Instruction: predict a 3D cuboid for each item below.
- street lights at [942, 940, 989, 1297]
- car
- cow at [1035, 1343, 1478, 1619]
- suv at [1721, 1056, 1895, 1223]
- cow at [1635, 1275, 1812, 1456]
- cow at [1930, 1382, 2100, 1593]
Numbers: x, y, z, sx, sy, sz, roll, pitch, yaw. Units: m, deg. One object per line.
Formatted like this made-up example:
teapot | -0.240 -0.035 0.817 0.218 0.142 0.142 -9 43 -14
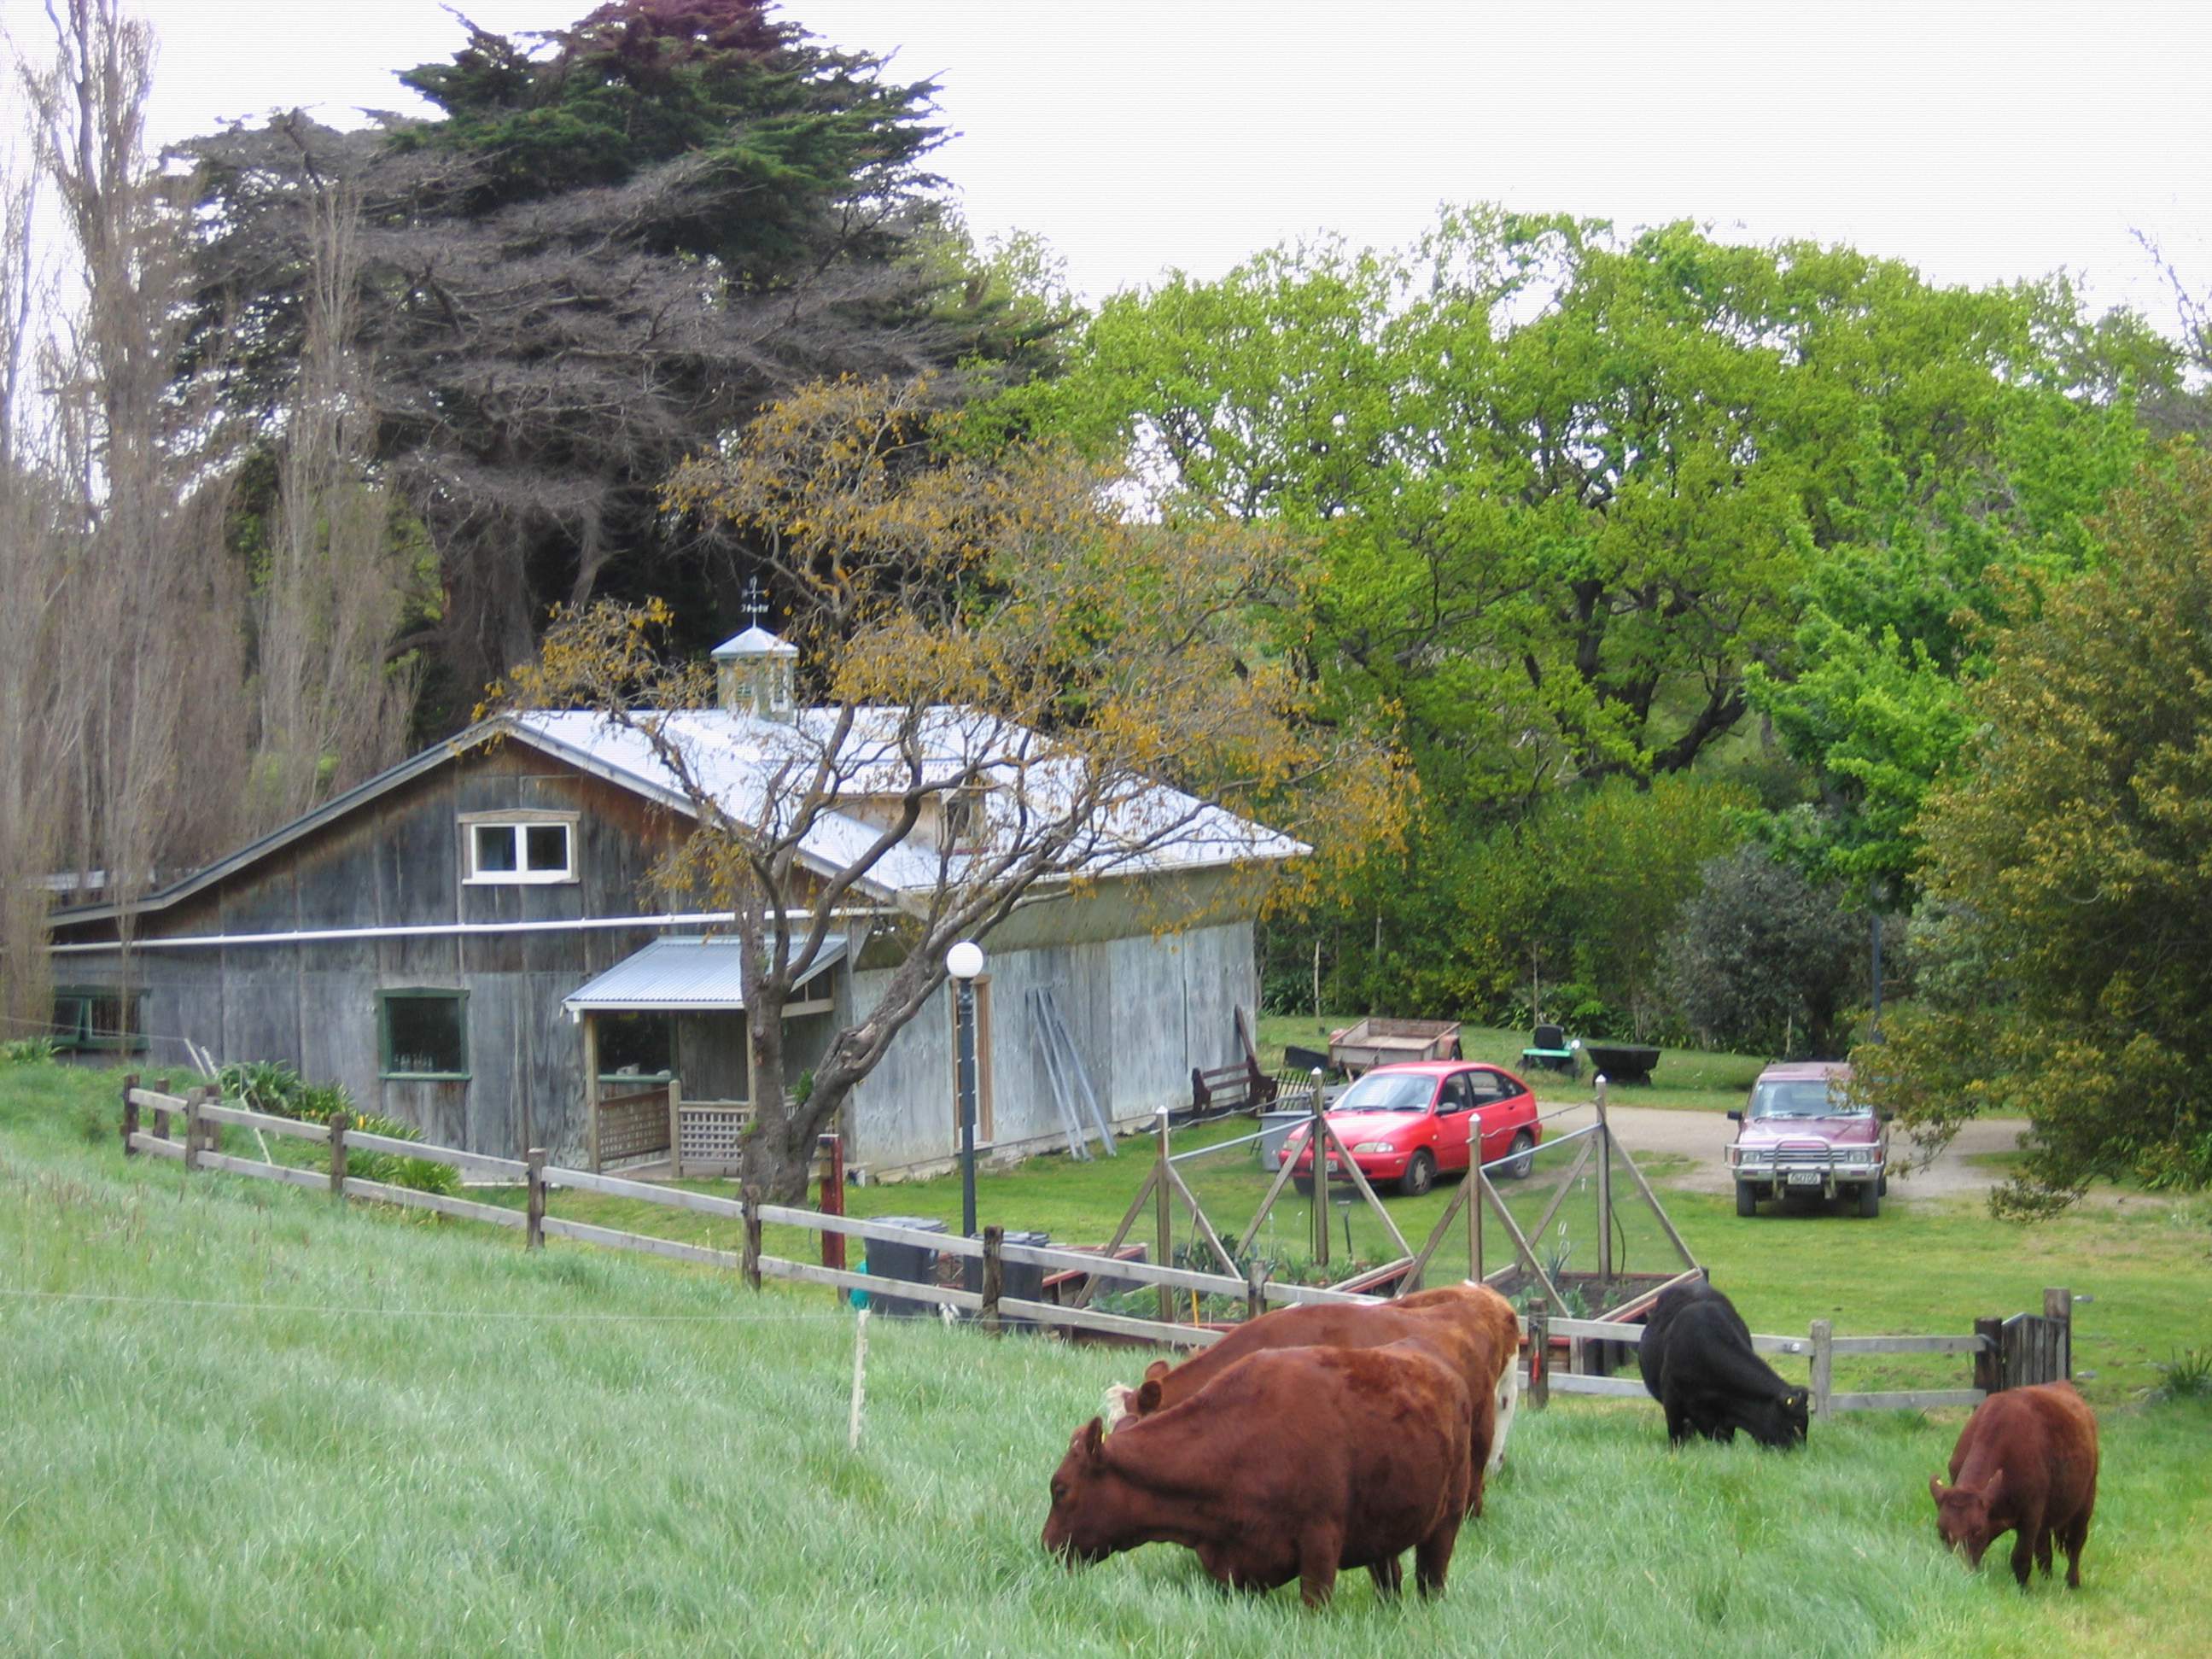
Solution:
street lights | -1.977 3.764 56.451 0.592 4.289 0.625 -1 -4 -5
car | 5.354 4.853 66.275 2.013 1.878 4.169 -2 -3 33
cow | 2.256 7.400 45.464 5.605 3.773 2.195 -3 11 -15
suv | 11.892 5.296 66.875 2.323 2.834 5.296 -1 -4 15
cow | 8.010 6.780 51.167 1.583 2.219 1.668 0 -1 17
cow | 10.982 7.804 47.662 2.175 2.405 0.799 4 -6 -29
